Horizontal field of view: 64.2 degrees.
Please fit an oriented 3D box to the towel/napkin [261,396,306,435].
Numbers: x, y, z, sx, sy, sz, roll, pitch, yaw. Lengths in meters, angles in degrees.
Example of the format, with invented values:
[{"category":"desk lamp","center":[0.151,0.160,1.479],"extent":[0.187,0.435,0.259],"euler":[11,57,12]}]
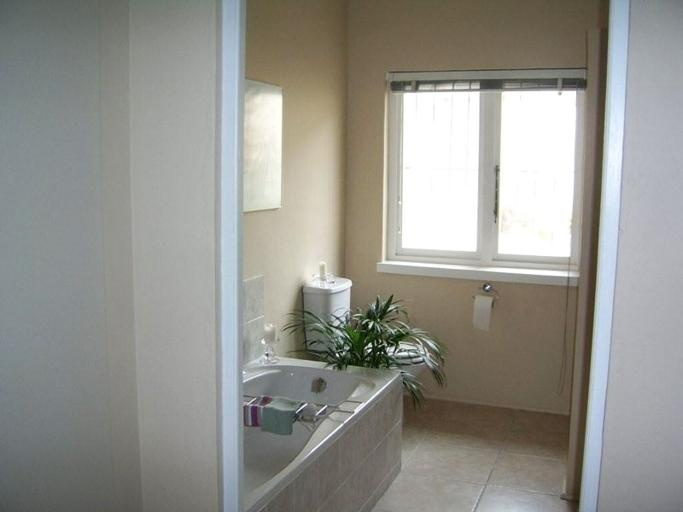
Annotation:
[{"category":"towel/napkin","center":[-0.254,0.711,2.415],"extent":[0.175,0.110,0.140],"euler":[3,9,20]}]
